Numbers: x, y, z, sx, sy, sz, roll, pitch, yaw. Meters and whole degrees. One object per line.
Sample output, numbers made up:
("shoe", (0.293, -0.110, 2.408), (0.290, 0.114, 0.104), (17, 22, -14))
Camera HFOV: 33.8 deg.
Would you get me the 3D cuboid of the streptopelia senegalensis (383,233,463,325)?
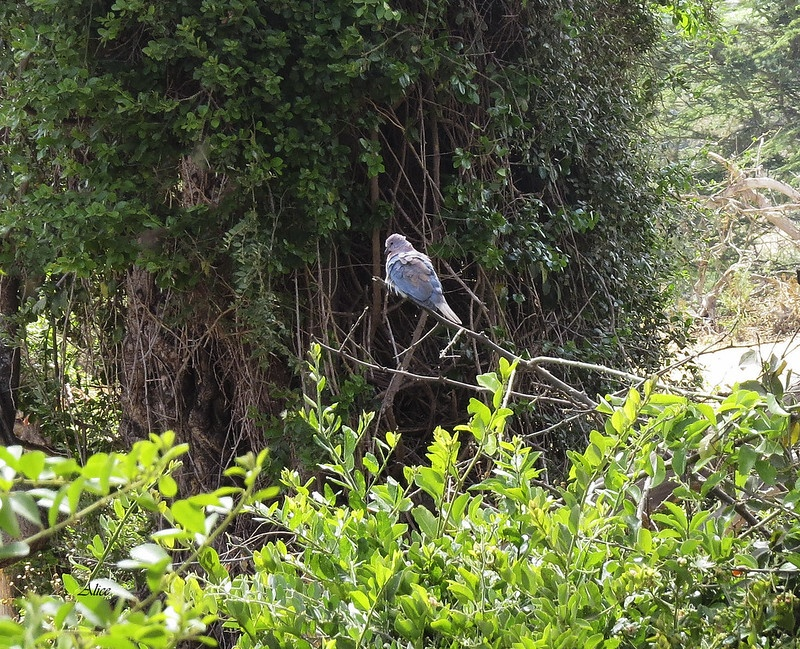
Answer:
("streptopelia senegalensis", (0.120, -0.274, 7.329), (0.233, 0.347, 0.699), (-3, 16, -35))
